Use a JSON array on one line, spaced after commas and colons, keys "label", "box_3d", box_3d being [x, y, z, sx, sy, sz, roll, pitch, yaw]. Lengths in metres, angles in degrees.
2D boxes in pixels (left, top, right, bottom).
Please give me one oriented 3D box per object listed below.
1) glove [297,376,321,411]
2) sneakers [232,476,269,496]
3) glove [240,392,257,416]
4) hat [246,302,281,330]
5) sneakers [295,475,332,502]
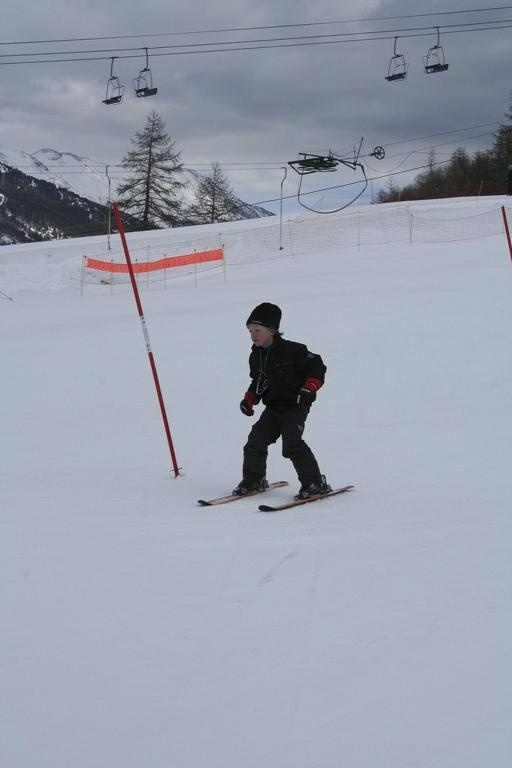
[{"label": "glove", "box_3d": [0.332, 0.058, 4.980, 0.133, 0.195, 0.087, 19, -22, -4]}, {"label": "sneakers", "box_3d": [-0.035, 0.699, 5.366, 0.084, 0.089, 0.253, -4, -6, 37]}, {"label": "glove", "box_3d": [-0.039, 0.135, 5.282, 0.058, 0.144, 0.110, 14, 18, -23]}, {"label": "hat", "box_3d": [0.050, -0.430, 5.163, 0.214, 0.169, 0.154, 18, -4, -30]}, {"label": "sneakers", "box_3d": [0.360, 0.665, 5.127, 0.330, 0.137, 0.096, -11, 1, -32]}]
